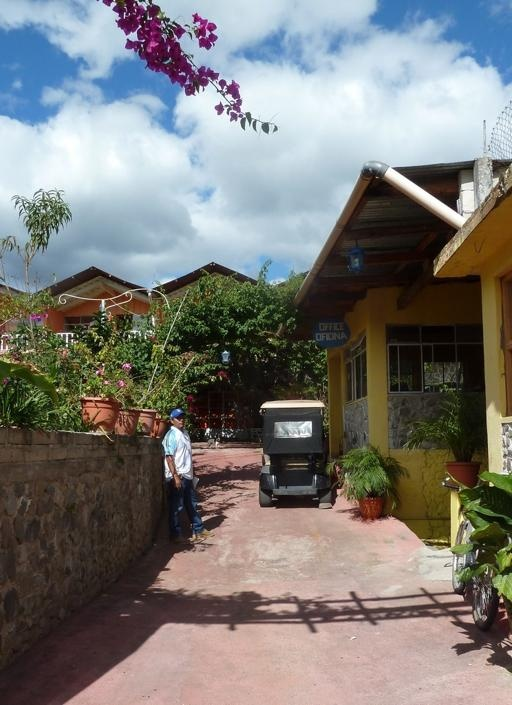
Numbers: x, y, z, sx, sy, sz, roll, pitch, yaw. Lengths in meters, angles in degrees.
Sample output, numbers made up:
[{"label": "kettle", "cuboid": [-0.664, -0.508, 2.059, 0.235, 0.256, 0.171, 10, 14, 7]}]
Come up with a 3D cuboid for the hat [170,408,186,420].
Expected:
[{"label": "hat", "cuboid": [-1.015, 0.803, 7.384, 0.155, 0.134, 0.256, 17, 5, 18]}]

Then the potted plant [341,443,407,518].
[{"label": "potted plant", "cuboid": [1.663, 1.979, 8.680, 0.988, 0.994, 0.975, 0, -2, -21]}]

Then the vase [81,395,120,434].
[{"label": "vase", "cuboid": [-1.514, 0.618, 5.463, 0.355, 0.266, 0.357, 0, -13, -2]}]

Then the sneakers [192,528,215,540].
[{"label": "sneakers", "cuboid": [-0.684, 2.377, 7.341, 0.282, 0.128, 0.117, -2, 3, -33]}]

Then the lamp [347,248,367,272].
[{"label": "lamp", "cuboid": [1.249, -1.167, 7.053, 0.250, 0.355, 0.255, -1, 5, -7]}]

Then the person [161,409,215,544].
[{"label": "person", "cuboid": [-0.957, 1.646, 7.696, 0.605, 1.721, 1.465, 2, -10, -6]}]

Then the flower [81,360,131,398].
[{"label": "flower", "cuboid": [-1.593, 0.353, 6.002, 0.417, 0.244, 0.444, 4, 21, -17]}]
